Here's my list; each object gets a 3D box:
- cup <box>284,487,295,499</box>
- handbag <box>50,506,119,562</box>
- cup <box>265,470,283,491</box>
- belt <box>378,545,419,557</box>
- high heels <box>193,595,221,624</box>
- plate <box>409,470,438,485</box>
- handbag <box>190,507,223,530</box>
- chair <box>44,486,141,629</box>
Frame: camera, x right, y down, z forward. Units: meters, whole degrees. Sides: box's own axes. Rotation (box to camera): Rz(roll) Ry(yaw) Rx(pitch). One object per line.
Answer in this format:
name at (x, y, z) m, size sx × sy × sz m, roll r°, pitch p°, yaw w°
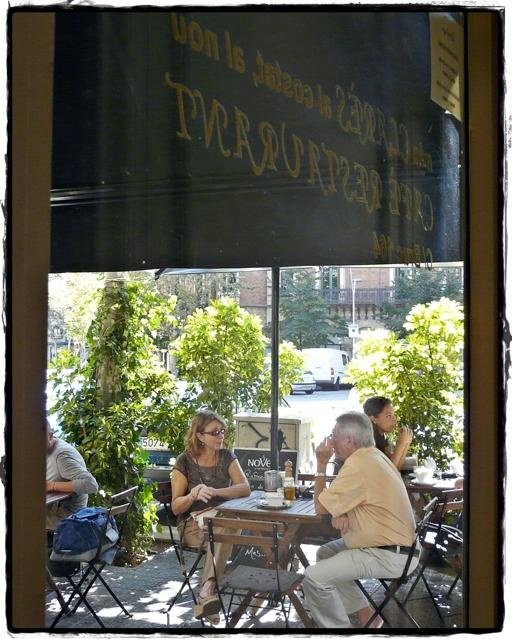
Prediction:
cup at (0.126, 0.646, 2.955) m, size 0.030 × 0.038 × 0.030 m, roll 1°, pitch -1°, yaw 0°
handbag at (-0.588, 0.713, 2.763) m, size 0.232 × 0.103 × 0.190 m, roll -2°, pitch 1°, yaw 41°
cup at (0.065, 0.609, 2.997) m, size 0.058 × 0.070 × 0.062 m, roll 0°, pitch -3°, yaw 0°
belt at (0.478, 0.766, 2.643) m, size 0.077 × 0.023 × 0.060 m, roll 2°, pitch -4°, yaw -2°
high heels at (-0.145, 0.863, 2.359) m, size 0.076 × 0.052 × 0.128 m, roll -1°, pitch -1°, yaw -4°
plate at (0.560, 0.532, 2.664) m, size 0.045 × 0.061 × 0.155 m, roll 0°, pitch -1°, yaw -14°
handbag at (-0.170, 0.673, 2.664) m, size 0.080 × 0.069 × 0.028 m, roll -8°, pitch -2°, yaw 28°
chair at (-0.563, 0.761, 2.611) m, size 0.312 × 0.506 × 0.324 m, roll 0°, pitch -6°, yaw 7°
